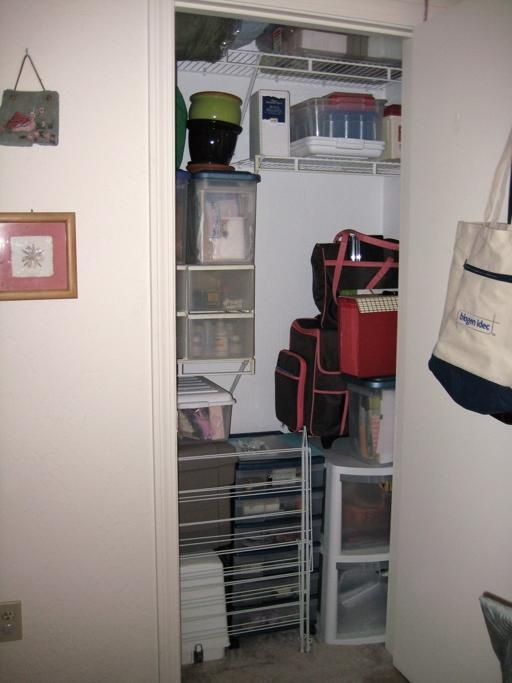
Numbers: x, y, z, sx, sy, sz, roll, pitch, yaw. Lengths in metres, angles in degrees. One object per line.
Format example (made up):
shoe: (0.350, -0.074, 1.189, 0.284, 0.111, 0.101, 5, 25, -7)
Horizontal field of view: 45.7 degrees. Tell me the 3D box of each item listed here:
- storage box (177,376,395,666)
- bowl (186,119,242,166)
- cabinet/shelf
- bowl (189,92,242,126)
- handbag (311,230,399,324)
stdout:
storage box: (0.043, 0.313, 2.544, 0.732, 1.065, 1.430, -1, 2, -11)
bowl: (-0.151, -0.699, 2.137, 0.209, 0.151, 0.212, 5, 9, -1)
cabinet/shelf: (0.174, -0.934, 2.360, 1.064, 0.533, 0.543, -7, 15, -27)
bowl: (-0.140, -0.770, 2.080, 0.140, 0.101, 0.142, 4, 16, -1)
handbag: (0.378, -0.237, 2.288, 0.346, 0.340, 0.171, -5, 18, -10)
